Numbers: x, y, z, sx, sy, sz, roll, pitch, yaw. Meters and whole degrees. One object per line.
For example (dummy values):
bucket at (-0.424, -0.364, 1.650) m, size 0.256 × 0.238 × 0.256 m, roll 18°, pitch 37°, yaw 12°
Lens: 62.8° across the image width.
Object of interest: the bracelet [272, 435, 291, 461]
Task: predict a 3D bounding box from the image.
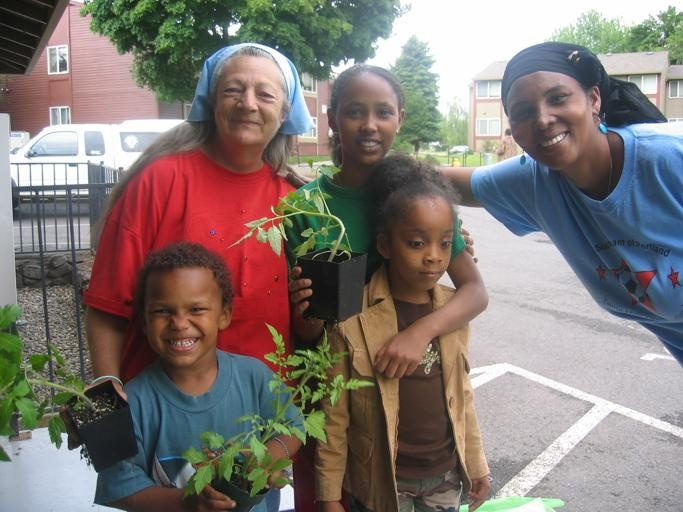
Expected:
bracelet at (-0.240, 0.764, 2.267) m, size 0.022 × 0.079 × 0.084 m, roll -42°, pitch -3°, yaw -9°

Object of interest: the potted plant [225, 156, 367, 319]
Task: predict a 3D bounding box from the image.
potted plant at (-0.096, -0.052, 2.555) m, size 0.346 × 0.762 × 0.787 m, roll -10°, pitch -12°, yaw 38°
